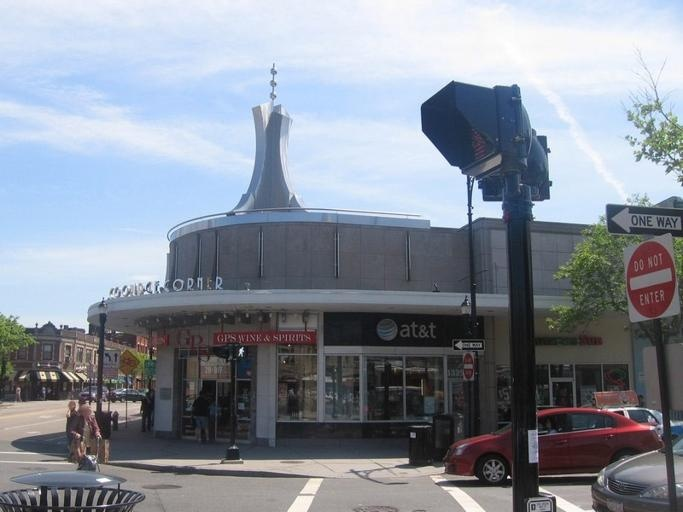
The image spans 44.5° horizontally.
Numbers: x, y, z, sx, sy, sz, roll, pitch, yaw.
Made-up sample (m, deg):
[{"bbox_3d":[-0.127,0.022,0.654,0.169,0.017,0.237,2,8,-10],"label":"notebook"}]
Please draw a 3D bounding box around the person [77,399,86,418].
[{"bbox_3d":[-6.798,3.999,22.051,0.220,0.475,0.856,1,-12,-16],"label":"person"}]

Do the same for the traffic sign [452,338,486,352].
[{"bbox_3d":[3.815,2.678,25.130,0.837,0.402,1.332,-3,-11,4],"label":"traffic sign"}]

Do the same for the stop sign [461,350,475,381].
[{"bbox_3d":[3.867,3.304,25.181,0.337,0.847,0.803,-3,-11,6],"label":"stop sign"}]

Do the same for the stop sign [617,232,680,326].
[{"bbox_3d":[4.369,0.320,11.767,0.289,1.195,0.879,4,-12,-29],"label":"stop sign"}]

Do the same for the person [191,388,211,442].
[{"bbox_3d":[-5.030,5.778,30.241,0.574,1.850,0.894,0,-11,-11],"label":"person"}]

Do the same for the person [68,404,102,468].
[{"bbox_3d":[-6.697,4.694,21.931,0.615,1.734,0.554,-5,16,-36],"label":"person"}]

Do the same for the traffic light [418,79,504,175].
[{"bbox_3d":[1.860,-1.897,12.169,0.866,1.129,1.105,5,-15,-20],"label":"traffic light"}]
